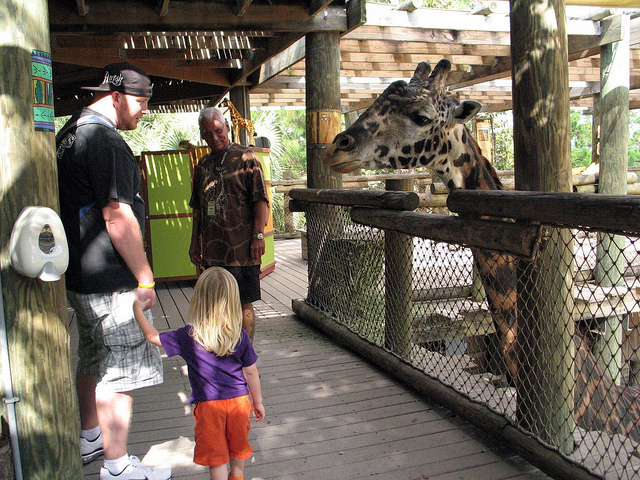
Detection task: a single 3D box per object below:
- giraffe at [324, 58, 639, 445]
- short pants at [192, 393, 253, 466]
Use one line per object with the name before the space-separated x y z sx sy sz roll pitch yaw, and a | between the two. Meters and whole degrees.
giraffe | 1.506 0.089 4.350 2.366 3.234 1.897 -7 9 -35
short pants | -0.522 1.010 2.715 0.294 0.342 0.130 -3 7 -8
